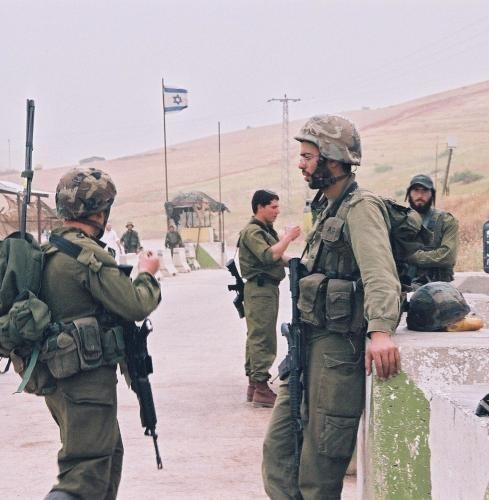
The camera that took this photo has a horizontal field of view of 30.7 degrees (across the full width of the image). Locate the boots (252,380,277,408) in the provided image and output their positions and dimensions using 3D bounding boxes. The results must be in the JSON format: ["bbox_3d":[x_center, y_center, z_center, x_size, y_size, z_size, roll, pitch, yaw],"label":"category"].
[{"bbox_3d":[0.149,1.139,6.967,0.249,0.271,0.120,1,-1,-13],"label":"boots"}]

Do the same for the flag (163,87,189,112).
[{"bbox_3d":[-2.636,-5.711,34.472,0.670,1.022,2.145,0,3,6],"label":"flag"}]

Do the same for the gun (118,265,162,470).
[{"bbox_3d":[-0.620,0.756,5.246,0.123,1.205,0.439,-9,12,1],"label":"gun"}]

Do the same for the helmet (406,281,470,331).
[{"bbox_3d":[0.938,0.270,4.406,0.232,0.198,0.230,-22,9,-7],"label":"helmet"}]

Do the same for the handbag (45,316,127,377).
[{"bbox_3d":[-0.741,0.434,4.209,0.298,0.213,0.229,-10,6,-32],"label":"handbag"}]

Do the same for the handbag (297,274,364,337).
[{"bbox_3d":[0.397,0.257,4.186,0.387,0.320,0.219,1,-2,44],"label":"handbag"}]

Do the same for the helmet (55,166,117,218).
[{"bbox_3d":[-0.799,-0.272,4.524,0.212,0.253,0.291,-1,-4,36],"label":"helmet"}]

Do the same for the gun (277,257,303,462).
[{"bbox_3d":[0.248,0.618,4.967,0.098,1.106,0.430,2,-7,-6],"label":"gun"}]

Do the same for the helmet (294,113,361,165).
[{"bbox_3d":[0.412,-0.560,4.419,0.278,0.233,0.234,-6,12,-13],"label":"helmet"}]
